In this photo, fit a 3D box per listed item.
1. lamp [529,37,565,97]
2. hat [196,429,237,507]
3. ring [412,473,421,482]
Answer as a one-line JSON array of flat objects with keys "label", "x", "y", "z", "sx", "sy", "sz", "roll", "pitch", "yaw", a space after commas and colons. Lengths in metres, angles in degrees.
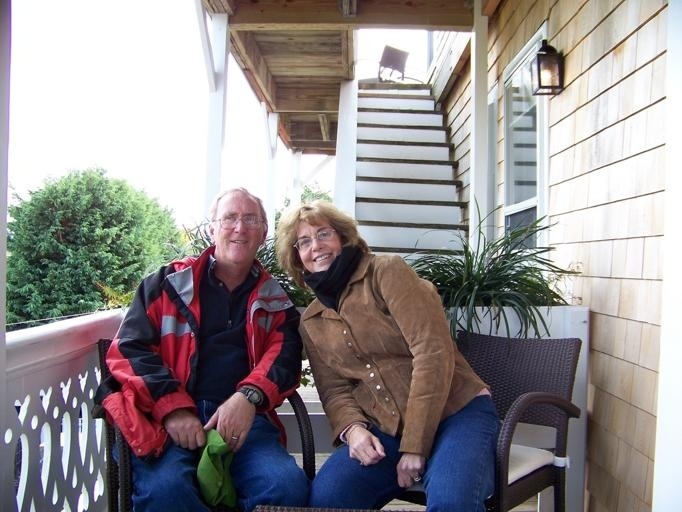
[{"label": "lamp", "x": 1.403, "y": -1.315, "z": 3.372, "sx": 0.207, "sy": 0.324, "sz": 0.195, "roll": 2, "pitch": -1, "yaw": 10}, {"label": "hat", "x": -0.485, "y": 0.832, "z": 1.923, "sx": 0.154, "sy": 0.302, "sz": 0.148, "roll": 3, "pitch": -1, "yaw": -29}, {"label": "ring", "x": 0.289, "y": 0.850, "z": 1.872, "sx": 0.034, "sy": 0.049, "sz": 0.050, "roll": -1, "pitch": -26, "yaw": 5}]
